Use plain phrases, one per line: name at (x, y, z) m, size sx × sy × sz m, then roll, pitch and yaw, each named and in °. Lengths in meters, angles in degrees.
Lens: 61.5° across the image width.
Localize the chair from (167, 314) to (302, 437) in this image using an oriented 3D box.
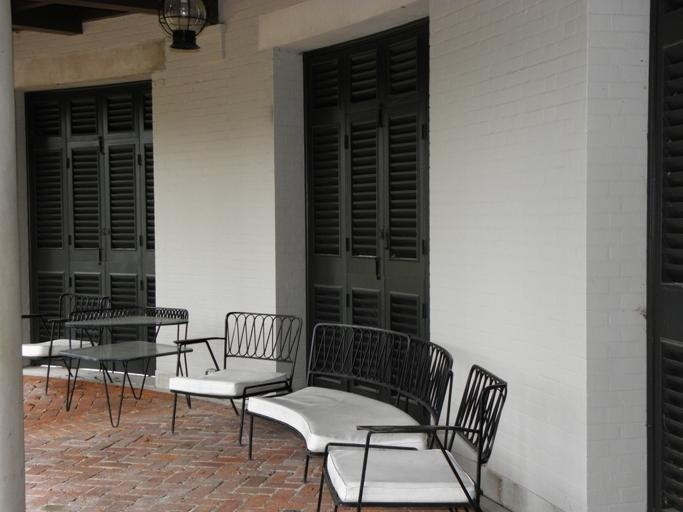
chair at (-0.972, 1.107, 5.229) m, size 0.973 × 1.337 × 1.207 m, roll 0°, pitch -3°, yaw 26°

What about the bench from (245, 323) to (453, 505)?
bench at (0.142, 0.984, 4.092) m, size 1.050 × 1.095 × 1.652 m, roll 2°, pitch 0°, yaw -37°
